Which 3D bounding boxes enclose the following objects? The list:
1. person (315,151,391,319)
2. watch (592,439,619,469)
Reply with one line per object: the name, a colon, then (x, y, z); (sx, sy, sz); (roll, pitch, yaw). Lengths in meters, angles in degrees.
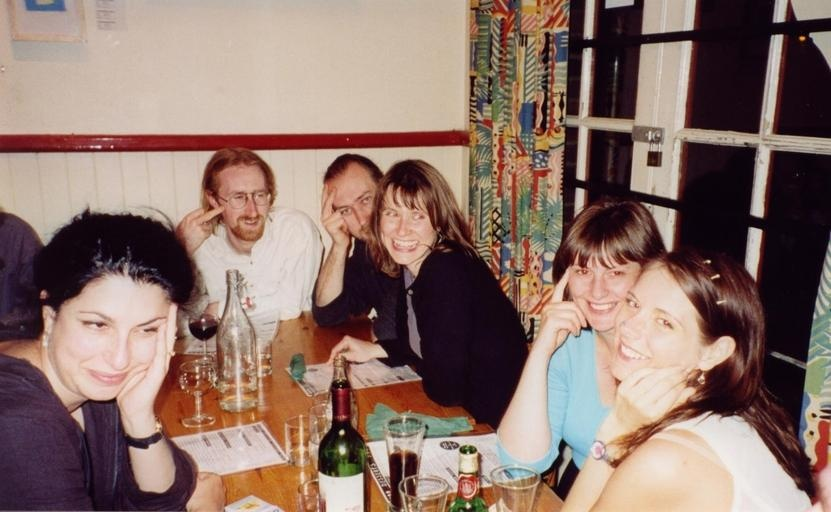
person: (-0.395, -0.099, 3.627); (0.632, 0.867, 0.271); (-6, -17, -13)
watch: (0.593, 0.625, 1.938); (0.084, 0.059, 0.022); (37, 0, 1)
